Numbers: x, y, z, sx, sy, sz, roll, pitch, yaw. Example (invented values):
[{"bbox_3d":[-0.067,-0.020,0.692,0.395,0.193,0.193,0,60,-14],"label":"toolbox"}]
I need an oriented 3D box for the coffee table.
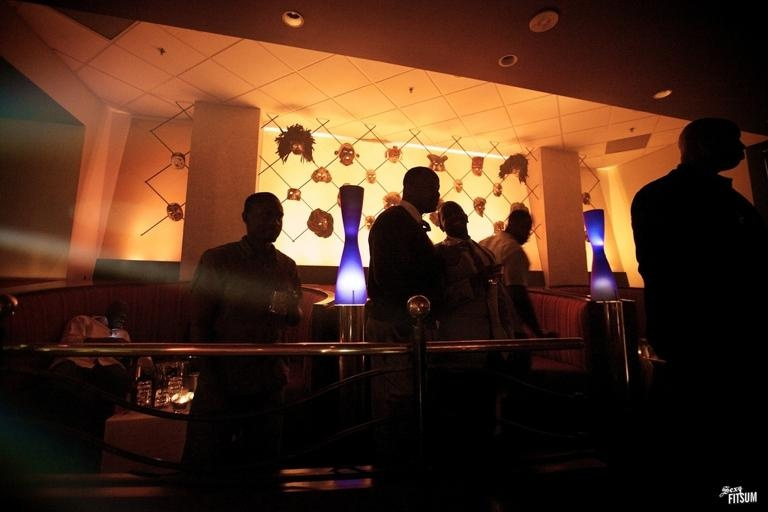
[{"bbox_3d":[-1.903,1.537,4.566,0.499,0.387,0.266,11,-9,-27],"label":"coffee table"}]

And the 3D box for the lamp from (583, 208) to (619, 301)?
[{"bbox_3d":[1.845,-0.029,4.618,0.228,0.840,0.397,-2,-15,22],"label":"lamp"}]

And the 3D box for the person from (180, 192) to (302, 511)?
[{"bbox_3d":[-0.968,0.535,3.858,0.808,2.091,0.722,8,-14,-18],"label":"person"}]

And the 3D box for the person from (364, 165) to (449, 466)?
[{"bbox_3d":[0.151,0.352,3.921,0.572,2.175,0.867,4,-14,-2],"label":"person"}]

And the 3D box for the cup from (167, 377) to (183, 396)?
[{"bbox_3d":[-1.841,1.149,4.815,0.101,0.136,0.055,5,-8,-41],"label":"cup"}]

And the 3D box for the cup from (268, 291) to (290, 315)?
[{"bbox_3d":[-0.720,0.334,3.873,0.150,0.160,0.171,-2,-15,15],"label":"cup"}]

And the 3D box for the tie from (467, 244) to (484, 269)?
[{"bbox_3d":[0.735,0.016,4.333,0.066,0.289,0.078,-16,-2,32],"label":"tie"}]

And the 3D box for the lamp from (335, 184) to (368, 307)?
[{"bbox_3d":[-0.224,-0.085,3.892,0.237,0.894,0.345,4,-14,-2],"label":"lamp"}]

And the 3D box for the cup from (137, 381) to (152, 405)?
[{"bbox_3d":[-2.061,1.177,4.705,0.142,0.208,0.080,8,-15,-21],"label":"cup"}]
